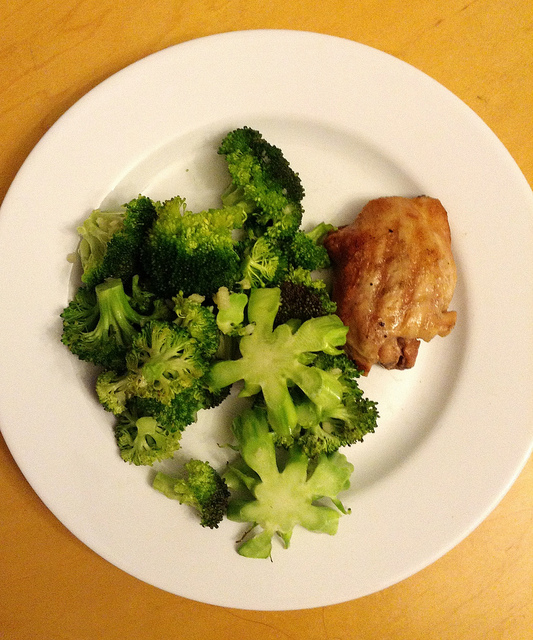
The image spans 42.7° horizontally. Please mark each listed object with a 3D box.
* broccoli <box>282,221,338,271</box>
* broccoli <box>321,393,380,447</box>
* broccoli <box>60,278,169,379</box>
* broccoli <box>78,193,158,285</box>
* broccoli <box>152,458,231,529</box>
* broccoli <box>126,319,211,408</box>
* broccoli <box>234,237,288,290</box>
[{"bbox_3d":[0.188,-0.340,3.002,0.224,0.110,0.217,28,51,-12],"label":"broccoli"},{"bbox_3d":[0.385,0.424,2.950,0.248,0.212,0.134,-7,36,20],"label":"broccoli"},{"bbox_3d":[-0.662,0.089,2.945,0.402,0.263,0.392,-19,76,0],"label":"broccoli"},{"bbox_3d":[-0.591,-0.373,2.884,0.207,0.328,0.385,14,40,-6],"label":"broccoli"},{"bbox_3d":[-0.328,0.770,3.077,0.306,0.410,0.190,17,72,-29],"label":"broccoli"},{"bbox_3d":[-0.398,0.170,2.651,0.333,0.136,0.332,5,89,-3],"label":"broccoli"},{"bbox_3d":[-0.050,-0.221,2.872,0.235,0.087,0.191,-27,102,-13],"label":"broccoli"}]
